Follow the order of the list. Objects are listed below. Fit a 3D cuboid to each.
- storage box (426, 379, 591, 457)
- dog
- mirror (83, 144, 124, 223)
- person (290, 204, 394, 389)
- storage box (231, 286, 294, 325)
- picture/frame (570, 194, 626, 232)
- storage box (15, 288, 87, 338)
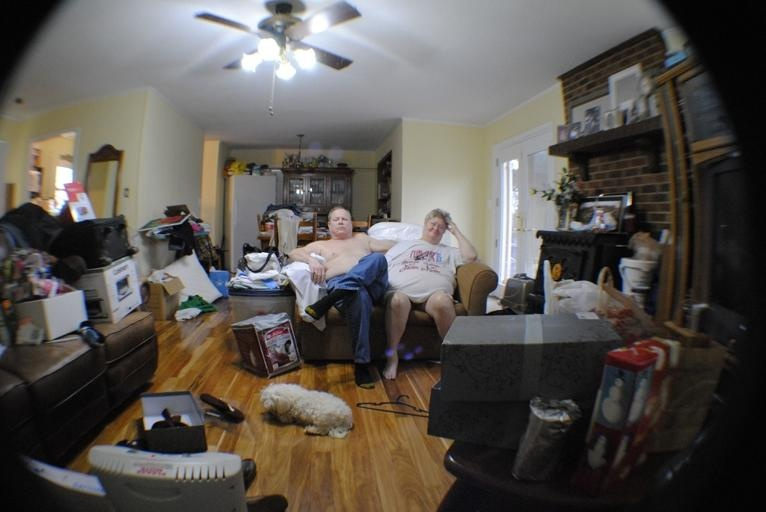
[{"bbox_3d":[0.165,0.274,0.823,0.164,0.056,0.153,8,-6,-30],"label":"storage box"},{"bbox_3d":[-0.219,0.450,1.464,0.196,0.064,0.143,12,-8,14],"label":"dog"},{"bbox_3d":[-0.469,-0.132,0.842,0.059,0.116,0.089,1,9,-8],"label":"mirror"},{"bbox_3d":[-0.150,0.082,2.139,0.433,0.822,0.455,-5,-27,-9],"label":"person"},{"bbox_3d":[-0.519,0.211,2.158,0.199,0.118,0.160,1,-4,-6],"label":"storage box"},{"bbox_3d":[0.348,-0.069,0.783,0.030,0.065,0.132,1,8,-12],"label":"picture/frame"},{"bbox_3d":[-0.787,0.141,1.192,0.147,0.092,0.145,-5,7,-38],"label":"storage box"}]
